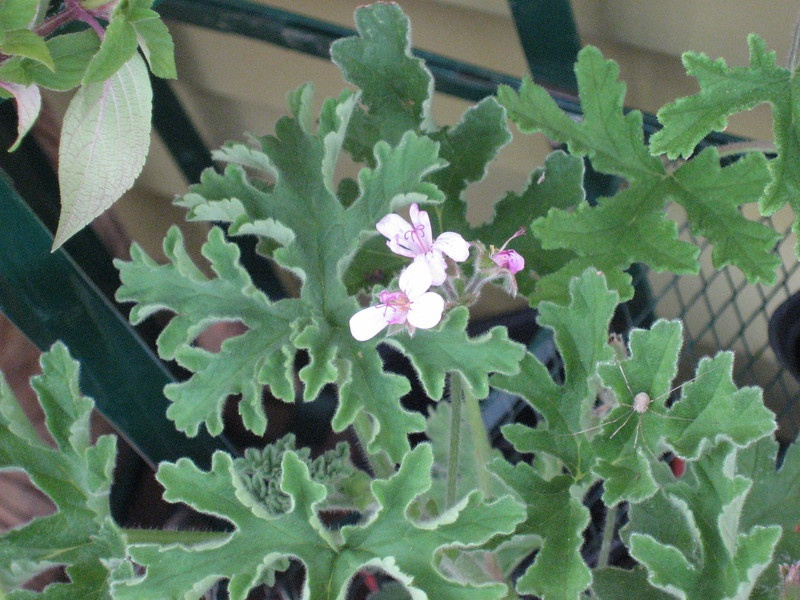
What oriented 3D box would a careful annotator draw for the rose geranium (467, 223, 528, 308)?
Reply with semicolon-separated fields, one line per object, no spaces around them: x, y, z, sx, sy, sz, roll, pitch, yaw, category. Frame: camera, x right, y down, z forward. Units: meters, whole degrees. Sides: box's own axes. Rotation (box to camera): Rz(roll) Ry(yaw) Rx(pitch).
0.163;-0.053;1.691;0.090;0.160;0.232;1;24;9;rose geranium

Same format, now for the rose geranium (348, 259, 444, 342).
-0.002;0.005;1.516;0.124;0.114;0.049;-23;-9;29;rose geranium
